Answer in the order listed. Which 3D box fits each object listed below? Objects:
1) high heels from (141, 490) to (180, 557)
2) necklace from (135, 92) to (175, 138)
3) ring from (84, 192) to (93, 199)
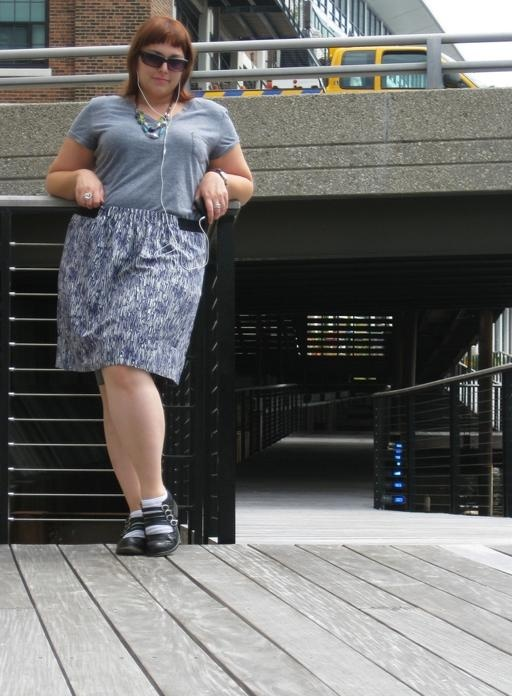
[{"bbox_3d":[-0.244,0.458,2.066,0.088,0.149,0.079,7,-10,-22],"label":"high heels"},{"bbox_3d":[-0.272,-0.598,2.086,0.075,0.085,0.069,2,8,0],"label":"necklace"},{"bbox_3d":[-0.429,-0.386,2.048,0.021,0.021,0.005,10,-12,-40],"label":"ring"}]
